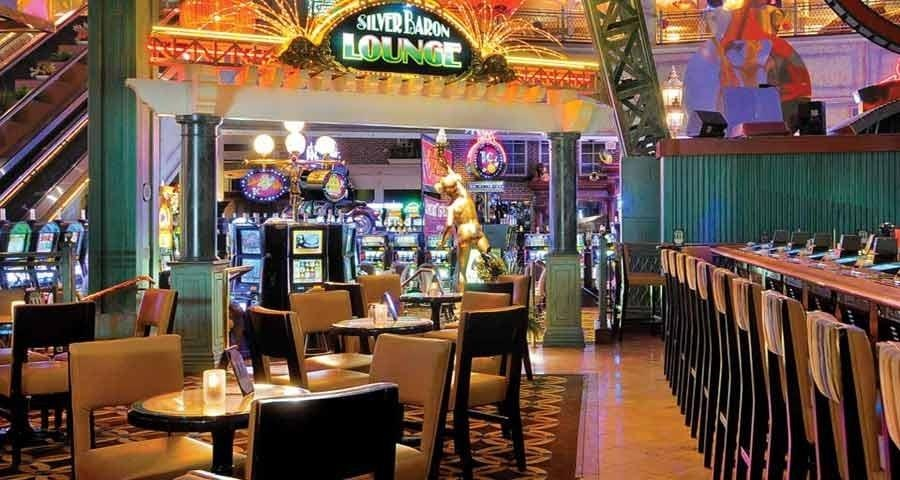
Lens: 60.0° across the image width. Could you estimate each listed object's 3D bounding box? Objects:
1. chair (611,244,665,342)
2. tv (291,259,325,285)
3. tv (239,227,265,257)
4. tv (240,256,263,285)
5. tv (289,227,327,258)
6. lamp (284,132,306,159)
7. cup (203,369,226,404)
[{"bbox_3d":[3.333,0.864,13.620,0.800,1.585,1.075,3,15,12],"label":"chair"},{"bbox_3d":[-2.494,0.560,13.605,0.475,0.355,0.157,2,-6,-20],"label":"tv"},{"bbox_3d":[-3.612,0.017,14.210,0.568,0.502,0.294,0,6,-3],"label":"tv"},{"bbox_3d":[-3.597,0.543,14.168,0.588,0.638,0.068,0,10,-1],"label":"tv"},{"bbox_3d":[-2.497,0.041,13.616,0.581,0.433,0.079,-1,7,-21],"label":"tv"},{"bbox_3d":[-2.878,-1.741,14.660,0.313,0.500,1.525,-3,14,-12],"label":"lamp"},{"bbox_3d":[-2.218,1.393,7.507,0.303,0.310,0.288,0,2,0],"label":"cup"}]
